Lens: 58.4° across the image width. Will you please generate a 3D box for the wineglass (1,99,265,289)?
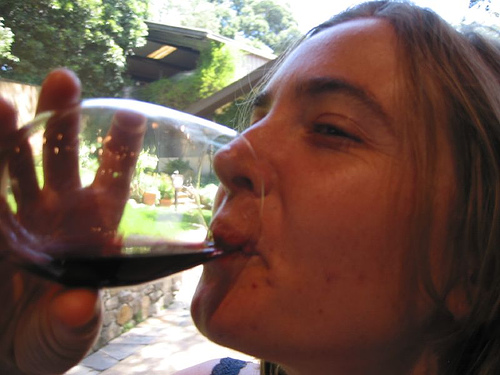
[{"bbox_3d":[-0.187,0.025,0.884,0.491,0.257,0.274,4,-3,-25],"label":"wineglass"}]
